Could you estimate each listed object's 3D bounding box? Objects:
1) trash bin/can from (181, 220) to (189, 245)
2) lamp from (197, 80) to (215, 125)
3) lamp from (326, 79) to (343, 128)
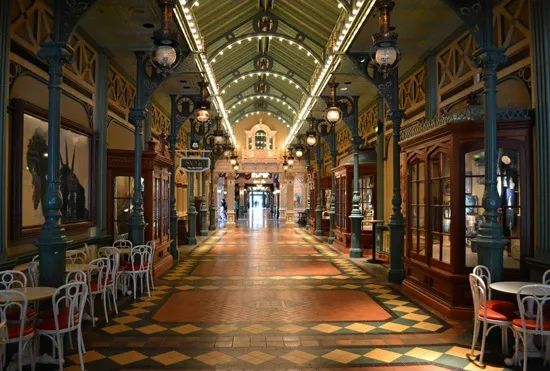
[{"bbox_3d":[-3.698,1.871,18.292,0.339,0.940,0.251,-2,5,-20],"label":"trash bin/can"},{"bbox_3d":[-1.856,-2.211,11.908,0.347,1.094,0.729,-1,5,-7],"label":"lamp"},{"bbox_3d":[1.532,-2.217,11.810,0.389,1.187,1.090,1,5,7],"label":"lamp"}]
